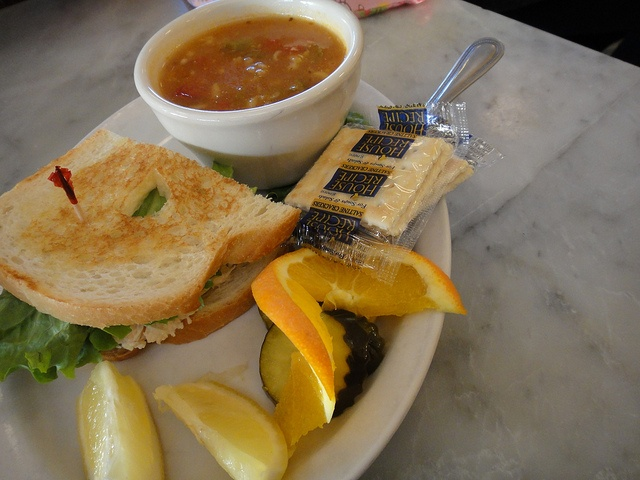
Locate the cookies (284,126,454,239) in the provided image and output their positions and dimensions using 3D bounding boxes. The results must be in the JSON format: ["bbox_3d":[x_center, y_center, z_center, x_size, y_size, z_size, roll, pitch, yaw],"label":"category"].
[{"bbox_3d":[0.183,-0.228,1.921,0.441,0.108,0.468,15,60,32],"label":"cookies"}]
